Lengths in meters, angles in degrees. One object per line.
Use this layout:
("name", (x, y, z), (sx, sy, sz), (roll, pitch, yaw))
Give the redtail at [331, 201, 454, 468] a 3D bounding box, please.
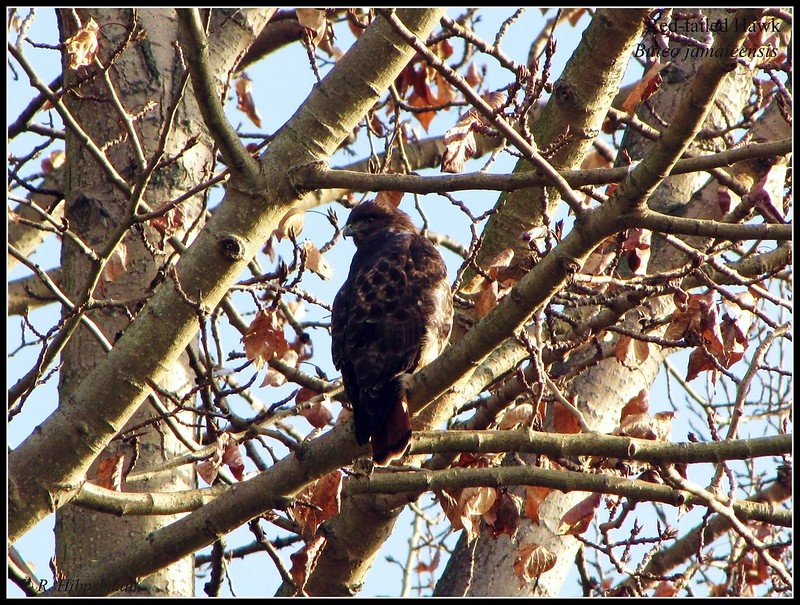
("redtail", (-0.020, 0.169, 9.105), (0.610, 1.716, 0.662), (-15, -38, 18))
